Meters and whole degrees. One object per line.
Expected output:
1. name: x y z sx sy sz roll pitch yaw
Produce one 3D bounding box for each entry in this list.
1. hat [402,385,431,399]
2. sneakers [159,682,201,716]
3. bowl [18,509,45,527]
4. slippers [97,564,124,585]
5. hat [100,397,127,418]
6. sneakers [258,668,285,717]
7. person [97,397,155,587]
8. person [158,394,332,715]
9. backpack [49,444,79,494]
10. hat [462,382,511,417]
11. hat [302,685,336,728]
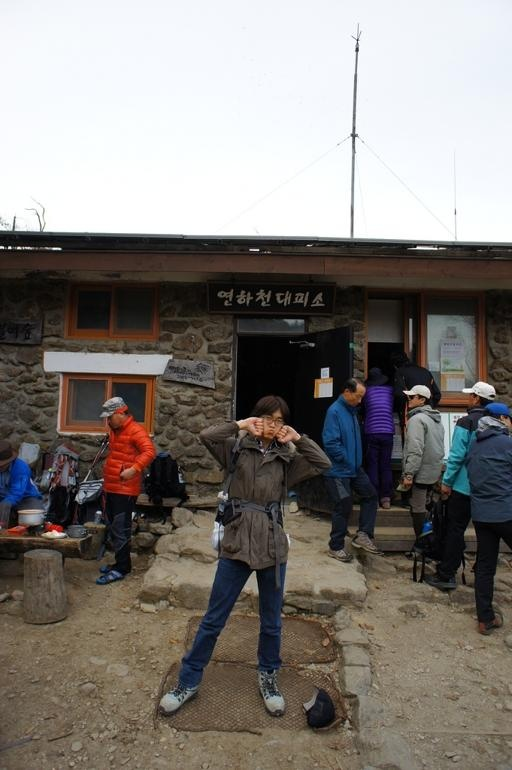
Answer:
1. hat: 1.579 0.068 5.587 0.199 0.106 0.134 3 0 1
2. sneakers: -0.386 1.690 3.134 0.091 0.116 0.254 23 7 33
3. bowl: -1.904 1.135 4.898 0.203 0.180 0.243 0 2 -23
4. slippers: -1.269 1.651 4.968 0.239 0.102 0.100 15 -7 -36
5. hat: -1.183 0.189 4.973 0.173 0.130 0.252 -2 12 40
6. sneakers: 0.086 1.684 3.124 0.087 0.121 0.262 0 -7 -5
7. person: -1.143 0.911 5.025 0.463 1.586 0.638 0 2 -18
8. person: -0.043 0.922 3.123 0.887 1.708 0.405 1 2 -2
9. backpack: -2.028 0.890 6.111 0.279 0.437 0.297 0 2 -20
10. hat: 2.181 0.140 5.380 0.360 0.190 0.223 27 -4 2
11. hat: 0.337 1.740 3.073 0.174 0.122 0.207 2 2 14
